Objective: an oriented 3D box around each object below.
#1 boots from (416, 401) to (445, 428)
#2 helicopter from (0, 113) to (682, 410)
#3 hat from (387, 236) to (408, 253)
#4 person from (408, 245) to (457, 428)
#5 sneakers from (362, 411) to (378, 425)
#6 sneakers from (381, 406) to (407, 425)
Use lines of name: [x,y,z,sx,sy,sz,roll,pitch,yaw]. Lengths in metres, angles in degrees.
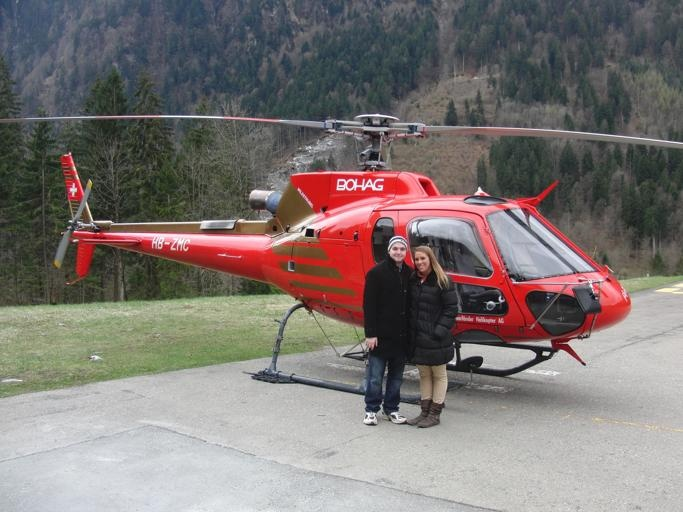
boots: [1.304,2.144,8.090,0.535,0.291,0.191,1,-2,-23]
helicopter: [0.140,-0.092,11.302,8.706,2.588,7.308,1,9,33]
hat: [0.755,-0.166,8.199,0.228,0.234,0.137,15,37,-4]
person: [1.229,1.071,8.060,0.608,2.406,0.405,2,5,6]
sneakers: [0.395,2.175,8.170,0.191,0.161,0.258,1,5,3]
sneakers: [0.729,2.197,8.285,0.368,0.131,0.146,1,2,40]
